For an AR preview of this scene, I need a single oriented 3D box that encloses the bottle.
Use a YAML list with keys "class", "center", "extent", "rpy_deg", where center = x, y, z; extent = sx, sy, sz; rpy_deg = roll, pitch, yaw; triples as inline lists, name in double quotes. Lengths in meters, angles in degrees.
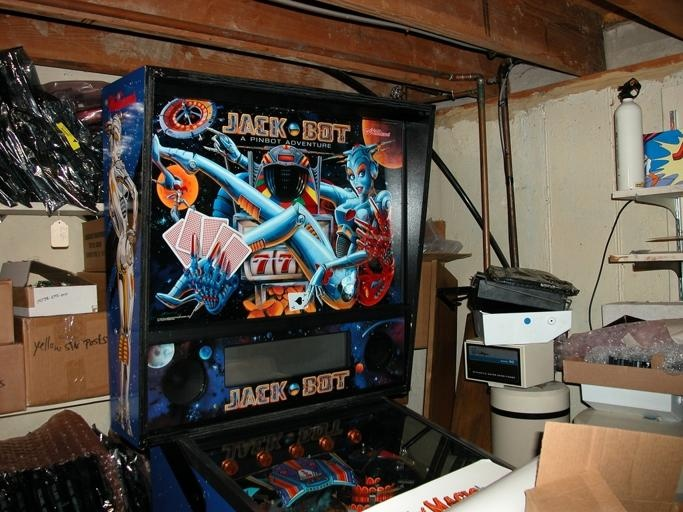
- class: "bottle"
  center: [1.554, -0.652, 3.189]
  extent: [0.133, 0.603, 0.129]
  rpy_deg: [-4, 4, 0]
